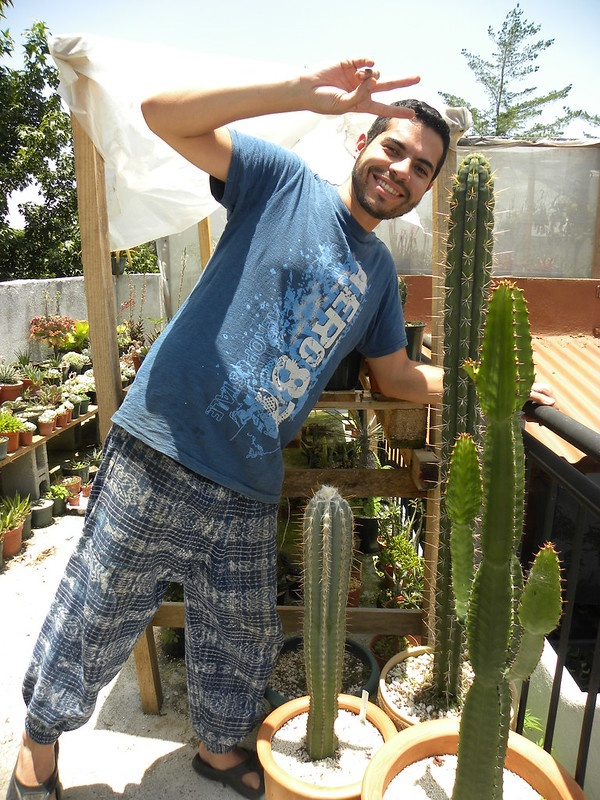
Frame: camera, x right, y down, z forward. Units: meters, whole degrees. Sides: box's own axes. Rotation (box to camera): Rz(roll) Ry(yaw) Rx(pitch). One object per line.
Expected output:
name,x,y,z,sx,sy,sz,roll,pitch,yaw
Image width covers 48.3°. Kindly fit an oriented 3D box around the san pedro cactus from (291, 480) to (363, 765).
san pedro cactus,0.066,0.539,1.569,0.119,0.690,0.150,-1,11,0
